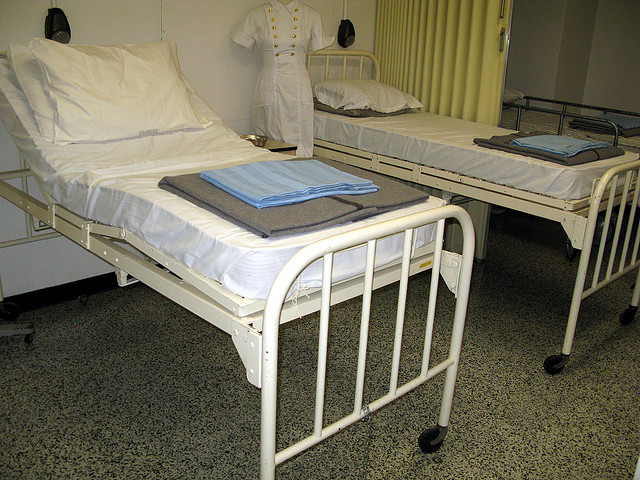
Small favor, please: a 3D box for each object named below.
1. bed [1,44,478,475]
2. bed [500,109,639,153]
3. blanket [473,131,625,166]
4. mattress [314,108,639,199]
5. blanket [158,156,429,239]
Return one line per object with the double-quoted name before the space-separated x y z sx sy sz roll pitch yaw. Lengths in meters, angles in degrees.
"bed" -0.443 -0.223 2.898 1.440 1.929 3.019 -16 34 -34
"bed" 1.822 -0.790 3.587 0.664 0.159 0.627 -20 34 -40
"blanket" 1.345 -0.568 2.932 0.630 0.075 0.618 -19 33 -32
"mattress" 0.794 -0.560 3.073 0.786 0.172 1.547 -15 26 -37
"blanket" -0.101 -0.214 2.074 0.899 0.123 0.707 -21 34 -35
